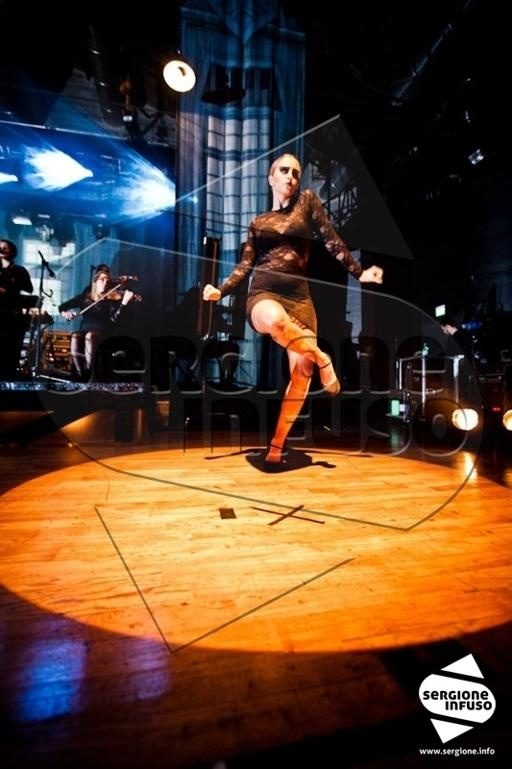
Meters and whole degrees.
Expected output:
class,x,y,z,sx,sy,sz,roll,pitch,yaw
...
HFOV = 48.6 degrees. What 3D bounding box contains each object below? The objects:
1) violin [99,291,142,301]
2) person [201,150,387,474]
class,x,y,z,sx,sy,sz,roll,pitch,yaw
violin,-1.228,-0.807,5.131,0.348,0.075,0.163,-1,-1,10
person,0.156,-0.386,2.858,0.825,1.572,0.454,-1,5,-11
